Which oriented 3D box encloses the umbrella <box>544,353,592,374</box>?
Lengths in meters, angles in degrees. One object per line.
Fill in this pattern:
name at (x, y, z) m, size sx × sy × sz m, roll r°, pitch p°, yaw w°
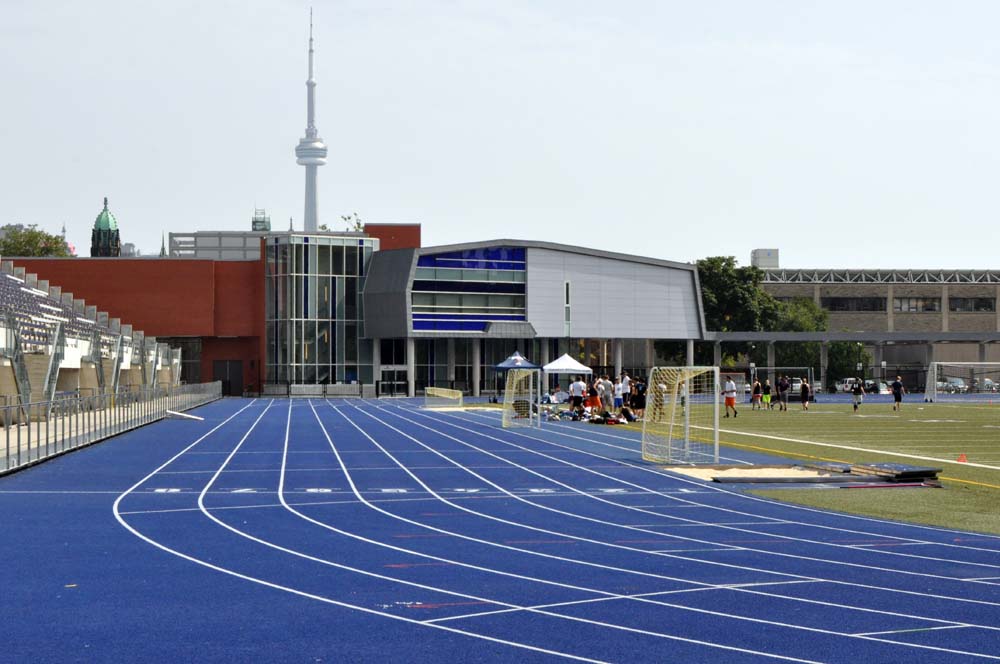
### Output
umbrella at (2.926, 1.604, 59.868) m, size 1.929 × 0.780 × 1.802 m, roll 1°, pitch 3°, yaw -1°
